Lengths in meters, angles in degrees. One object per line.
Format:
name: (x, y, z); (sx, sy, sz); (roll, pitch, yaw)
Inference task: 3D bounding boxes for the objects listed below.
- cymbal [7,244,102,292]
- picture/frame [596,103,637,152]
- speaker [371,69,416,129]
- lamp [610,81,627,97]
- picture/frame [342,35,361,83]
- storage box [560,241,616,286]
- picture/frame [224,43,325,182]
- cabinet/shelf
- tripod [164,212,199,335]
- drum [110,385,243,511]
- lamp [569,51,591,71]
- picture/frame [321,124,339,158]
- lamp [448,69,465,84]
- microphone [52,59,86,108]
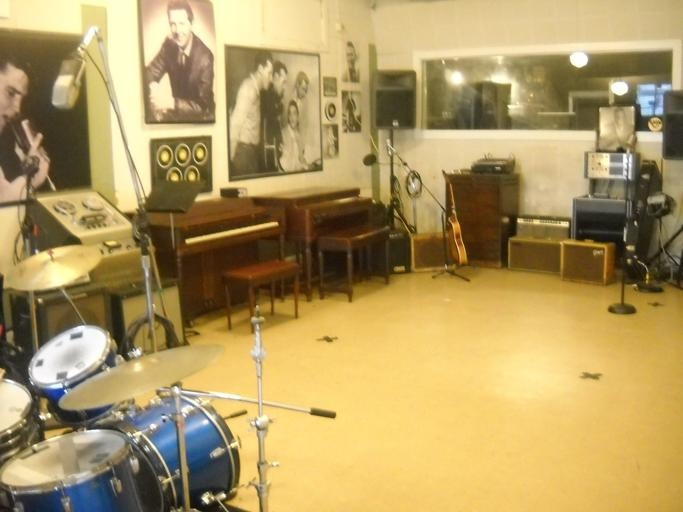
cymbal: (-1.861, 0.077, 3.708); (0.557, 0.215, 0.457); (-11, 17, -34)
picture/frame: (3.700, -1.713, 7.709); (0.645, 0.760, 0.168); (4, 8, 23)
speaker: (0.848, -2.488, 9.020); (0.647, 0.900, 0.733); (0, 13, 5)
lamp: (3.810, -2.308, 7.849); (0.229, 0.227, 0.443); (5, 15, 26)
picture/frame: (0.134, -2.988, 8.746); (0.004, 0.604, 0.559); (7, 16, 32)
storage box: (3.255, 0.098, 7.553); (0.495, 0.492, 0.188); (2, 5, 38)
picture/frame: (-0.821, -1.888, 7.579); (0.029, 1.660, 1.820); (8, 14, 37)
cabinet/shelf: (2.070, -0.498, 8.338); (1.002, 1.665, 0.807); (5, 13, 30)
tripod: (-1.625, 0.182, 5.879); (0.207, 1.302, 0.851); (-5, 13, -15)
drum: (-0.879, 1.030, 3.001); (0.599, 0.653, 0.450); (-28, -5, 41)
lamp: (3.395, -2.809, 8.179); (0.266, 0.231, 0.329); (4, 15, 23)
picture/frame: (-0.163, -1.698, 8.488); (0.007, 0.514, 0.482); (3, 13, 32)
lamp: (1.841, -2.866, 9.152); (0.185, 0.214, 0.047); (8, 12, 29)
microphone: (-1.827, -1.166, 3.821); (0.212, 0.332, 0.322); (-8, 15, -26)
